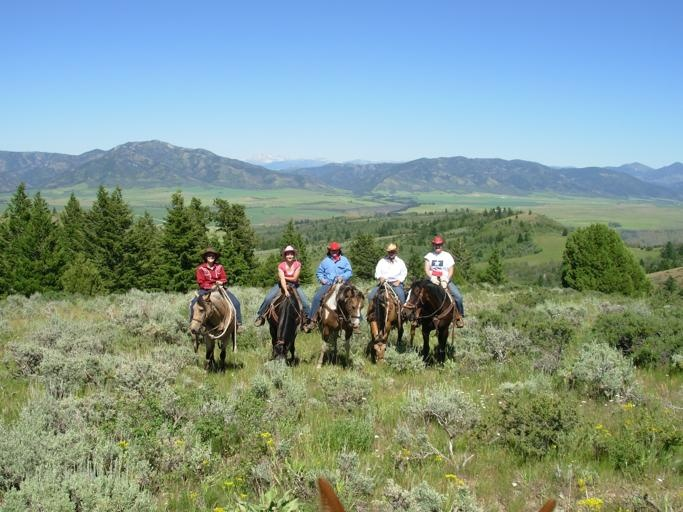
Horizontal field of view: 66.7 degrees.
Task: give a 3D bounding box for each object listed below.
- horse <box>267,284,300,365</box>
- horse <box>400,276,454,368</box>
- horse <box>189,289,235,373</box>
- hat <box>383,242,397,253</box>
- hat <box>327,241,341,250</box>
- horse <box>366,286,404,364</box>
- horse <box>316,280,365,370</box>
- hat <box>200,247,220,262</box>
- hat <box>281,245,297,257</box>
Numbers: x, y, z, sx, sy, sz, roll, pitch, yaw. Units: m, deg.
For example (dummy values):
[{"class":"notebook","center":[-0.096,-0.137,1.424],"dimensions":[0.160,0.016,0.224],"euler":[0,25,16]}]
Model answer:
[{"class":"horse","center":[-1.816,2.336,16.918],"dimensions":[1.130,2.615,1.591],"euler":[-2,8,-8]},{"class":"horse","center":[3.008,2.236,17.695],"dimensions":[1.703,2.941,1.292],"euler":[0,8,3]},{"class":"horse","center":[-4.051,2.346,16.605],"dimensions":[1.380,2.720,2.784],"euler":[-2,9,-12]},{"class":"hat","center":[1.746,-0.268,18.421],"dimensions":[0.376,0.377,0.667],"euler":[1,9,8]},{"class":"hat","center":[-0.275,-0.318,18.180],"dimensions":[0.356,0.236,0.552],"euler":[0,0,1]},{"class":"horse","center":[1.503,2.309,18.215],"dimensions":[1.262,2.706,1.779],"euler":[0,8,6]},{"class":"horse","center":[-0.303,2.290,17.534],"dimensions":[0.910,2.578,3.801],"euler":[7,-4,-20]},{"class":"hat","center":[-5.980,-0.065,23.156],"dimensions":[0.873,1.022,0.298],"euler":[3,42,-12]},{"class":"hat","center":[-1.718,-0.138,17.009],"dimensions":[0.407,0.379,0.899],"euler":[-2,9,-7]}]
